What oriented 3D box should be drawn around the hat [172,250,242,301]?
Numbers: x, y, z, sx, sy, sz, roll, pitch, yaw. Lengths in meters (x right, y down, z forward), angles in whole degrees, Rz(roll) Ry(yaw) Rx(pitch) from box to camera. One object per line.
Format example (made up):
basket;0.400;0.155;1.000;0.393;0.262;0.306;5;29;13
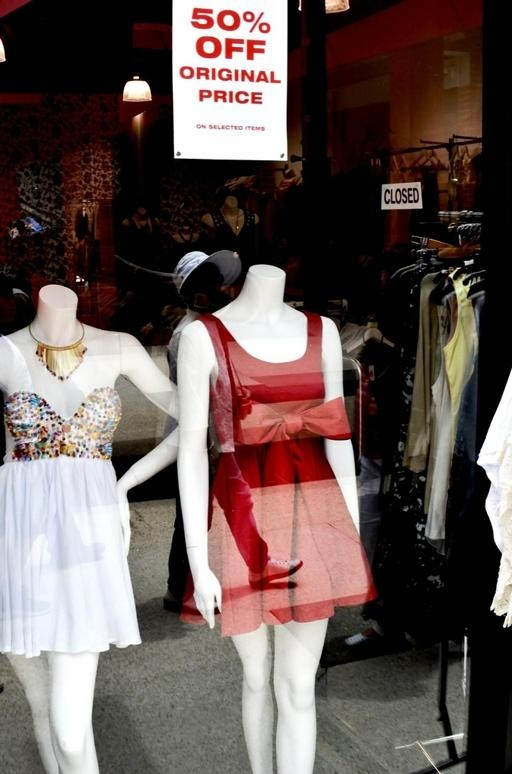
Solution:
hat;-0.093;-0.222;1.187;0.106;0.093;0.044;0;28;-39
